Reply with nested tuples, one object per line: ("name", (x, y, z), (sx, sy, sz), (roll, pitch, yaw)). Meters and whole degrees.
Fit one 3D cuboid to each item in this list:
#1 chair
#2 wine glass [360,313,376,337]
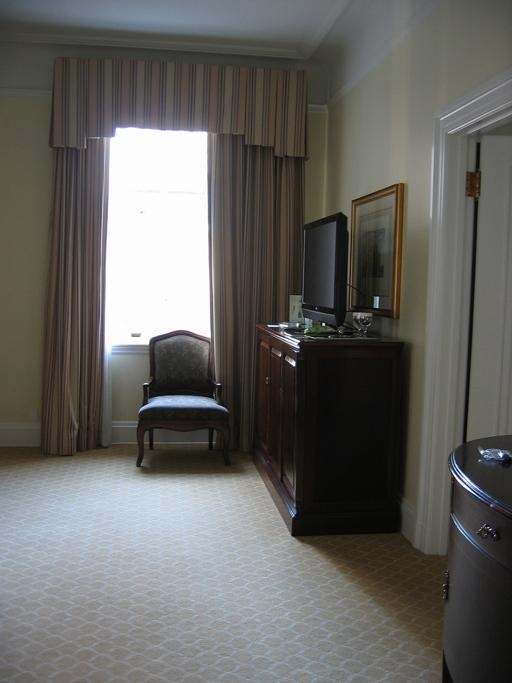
("chair", (-0.651, 0.452, 4.623), (0.767, 1.119, 0.813), (0, 1, -12))
("wine glass", (0.728, -0.117, 3.428), (0.090, 0.189, 0.105), (-3, 12, -14))
